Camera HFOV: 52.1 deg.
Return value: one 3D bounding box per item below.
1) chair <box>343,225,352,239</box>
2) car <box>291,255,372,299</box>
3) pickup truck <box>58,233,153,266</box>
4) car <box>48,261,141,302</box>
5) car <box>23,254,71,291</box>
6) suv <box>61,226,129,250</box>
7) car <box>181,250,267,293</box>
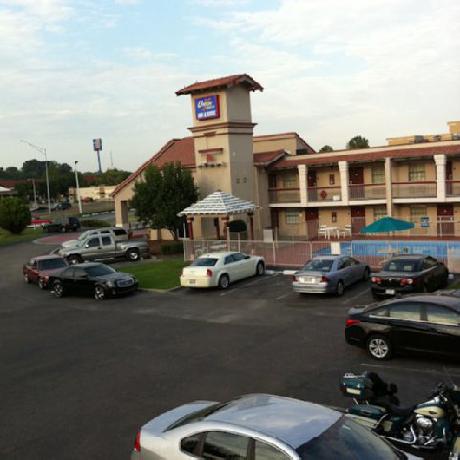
[{"bbox_3d":[8.749,0.194,34.892,0.781,1.278,0.992,0,3,15],"label":"chair"},{"bbox_3d":[4.141,1.882,19.000,1.354,1.464,3.485,1,5,44],"label":"car"},{"bbox_3d":[-8.268,1.296,31.336,5.325,1.830,2.146,1,0,-28],"label":"pickup truck"},{"bbox_3d":[-6.378,2.350,21.730,3.657,1.209,1.766,-2,1,28],"label":"car"},{"bbox_3d":[-9.806,2.242,24.752,1.443,1.015,2.832,-7,3,-34],"label":"car"},{"bbox_3d":[-9.535,0.873,32.672,4.631,1.789,2.188,0,3,-9],"label":"suv"},{"bbox_3d":[-0.198,1.882,22.272,1.574,1.242,3.959,1,8,38],"label":"car"}]
